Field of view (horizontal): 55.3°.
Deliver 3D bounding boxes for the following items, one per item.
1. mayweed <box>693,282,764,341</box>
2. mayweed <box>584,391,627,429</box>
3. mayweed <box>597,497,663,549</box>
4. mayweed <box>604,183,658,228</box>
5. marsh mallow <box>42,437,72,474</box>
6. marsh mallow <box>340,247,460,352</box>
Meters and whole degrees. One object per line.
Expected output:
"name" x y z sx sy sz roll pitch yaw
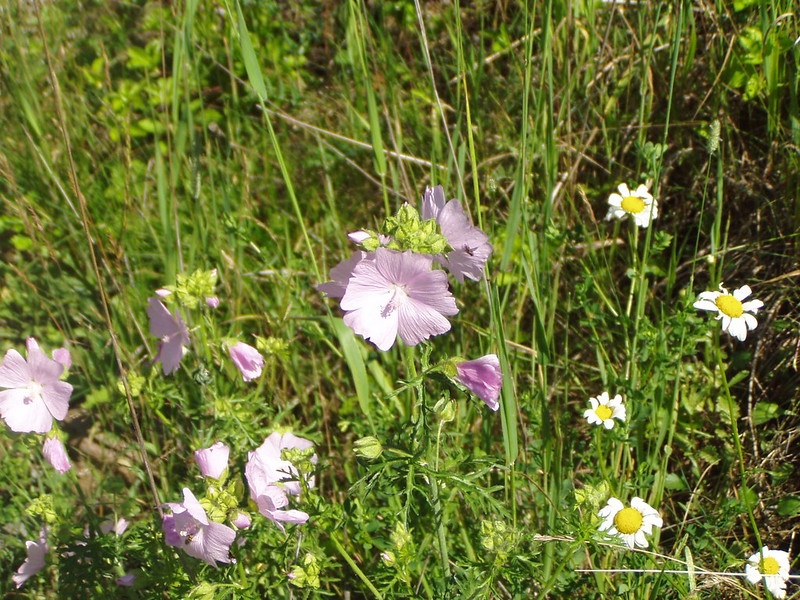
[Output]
"mayweed" 1.346 0.041 3.123 0.274 0.084 0.263 -26 41 -37
"mayweed" 0.833 0.435 3.073 0.131 0.060 0.168 -2 62 6
"mayweed" 0.893 0.857 2.962 0.188 0.052 0.238 12 69 0
"mayweed" 0.978 -0.398 3.194 0.188 0.232 0.187 -6 14 -11
"marsh mallow" -1.343 0.621 3.025 0.090 0.066 0.156 -31 77 -2
"marsh mallow" -0.014 -0.003 2.536 0.304 0.393 0.139 -16 8 5
